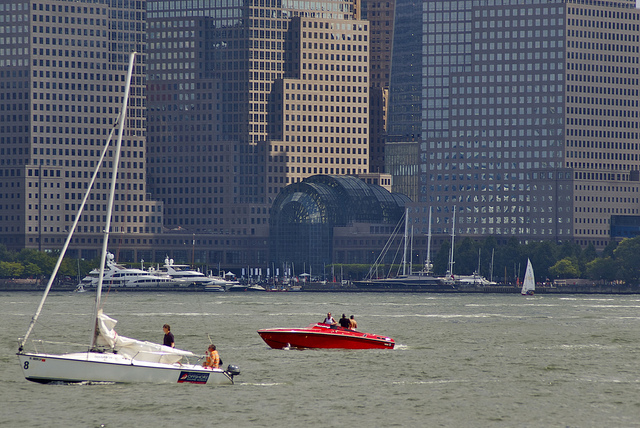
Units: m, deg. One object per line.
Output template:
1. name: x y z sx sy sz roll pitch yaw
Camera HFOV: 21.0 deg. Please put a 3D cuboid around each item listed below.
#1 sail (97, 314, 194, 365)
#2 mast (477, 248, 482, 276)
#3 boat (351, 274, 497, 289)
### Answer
1. sail: -26.175 20.250 267.969 18.305 6.018 5.256 11 4 5
2. mast: 41.393 12.636 449.817 0.712 6.202 1.386 3 -3 14
3. boat: 26.922 17.272 444.008 32.162 5.012 11.928 3 -2 6
